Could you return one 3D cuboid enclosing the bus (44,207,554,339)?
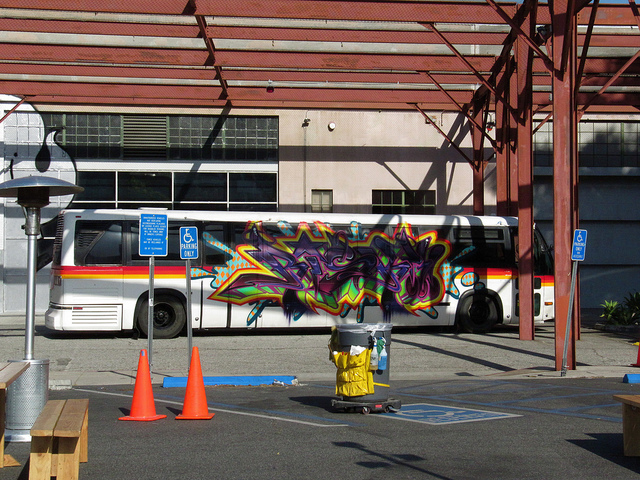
[{"bbox_3d":[-0.358,0.854,31.159,14.367,3.641,3.035,-1,-3,-17],"label":"bus"}]
